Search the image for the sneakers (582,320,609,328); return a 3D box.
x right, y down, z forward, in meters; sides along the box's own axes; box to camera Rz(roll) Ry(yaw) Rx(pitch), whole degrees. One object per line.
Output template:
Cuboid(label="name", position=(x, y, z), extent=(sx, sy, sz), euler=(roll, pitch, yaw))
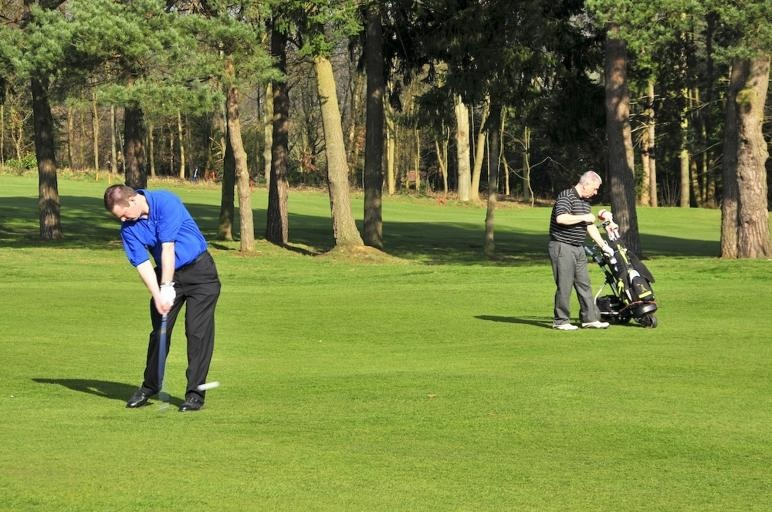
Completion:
Cuboid(label="sneakers", position=(4.365, 1.419, 24.825), extent=(0.559, 0.234, 0.195), euler=(-1, 5, -3))

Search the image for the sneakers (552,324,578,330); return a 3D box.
Cuboid(label="sneakers", position=(3.739, 1.449, 24.764), extent=(0.499, 0.203, 0.176), euler=(0, 12, 5))

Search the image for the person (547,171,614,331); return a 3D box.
Cuboid(label="person", position=(3.977, -0.110, 24.589), extent=(1.160, 3.319, 0.828), euler=(-8, 15, -29))
